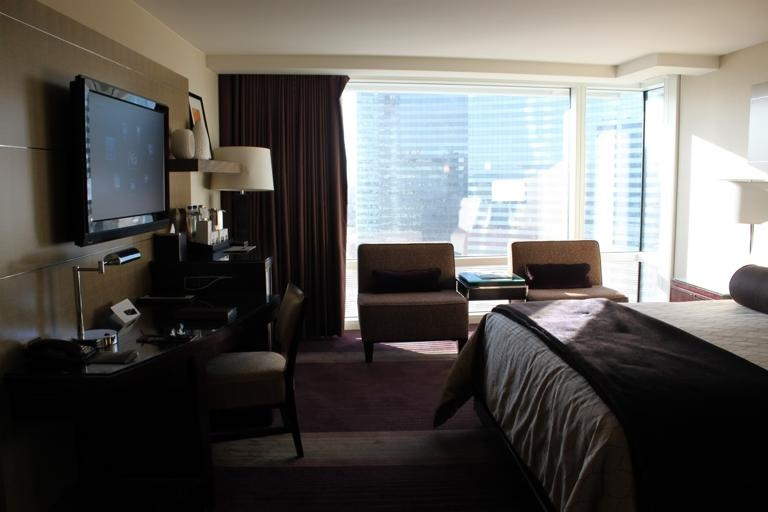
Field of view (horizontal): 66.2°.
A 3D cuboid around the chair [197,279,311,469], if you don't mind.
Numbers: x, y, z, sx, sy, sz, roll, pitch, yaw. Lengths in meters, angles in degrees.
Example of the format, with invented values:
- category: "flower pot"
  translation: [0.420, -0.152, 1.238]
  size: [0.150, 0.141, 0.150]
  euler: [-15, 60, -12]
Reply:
- category: "chair"
  translation: [-0.820, 0.800, 4.028]
  size: [0.843, 0.927, 0.805]
  euler: [-2, -6, -20]

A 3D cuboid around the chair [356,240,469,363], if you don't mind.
- category: "chair"
  translation: [0.262, 0.435, 5.716]
  size: [1.013, 0.952, 0.796]
  euler: [-1, 14, -3]

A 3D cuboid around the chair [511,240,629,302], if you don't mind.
- category: "chair"
  translation: [1.829, 0.347, 5.960]
  size: [0.987, 0.890, 0.695]
  euler: [-1, 10, -9]

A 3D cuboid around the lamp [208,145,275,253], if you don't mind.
- category: "lamp"
  translation: [-1.353, -0.543, 5.643]
  size: [0.615, 0.916, 0.596]
  euler: [-1, 4, -16]

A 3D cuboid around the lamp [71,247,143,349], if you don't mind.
- category: "lamp"
  translation: [-1.665, 0.236, 3.513]
  size: [0.362, 0.493, 0.577]
  euler: [-3, 14, -13]

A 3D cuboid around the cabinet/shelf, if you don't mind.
- category: "cabinet/shelf"
  translation: [-1.183, 0.311, 3.996]
  size: [0.667, 0.584, 0.353]
  euler: [0, 7, 0]
